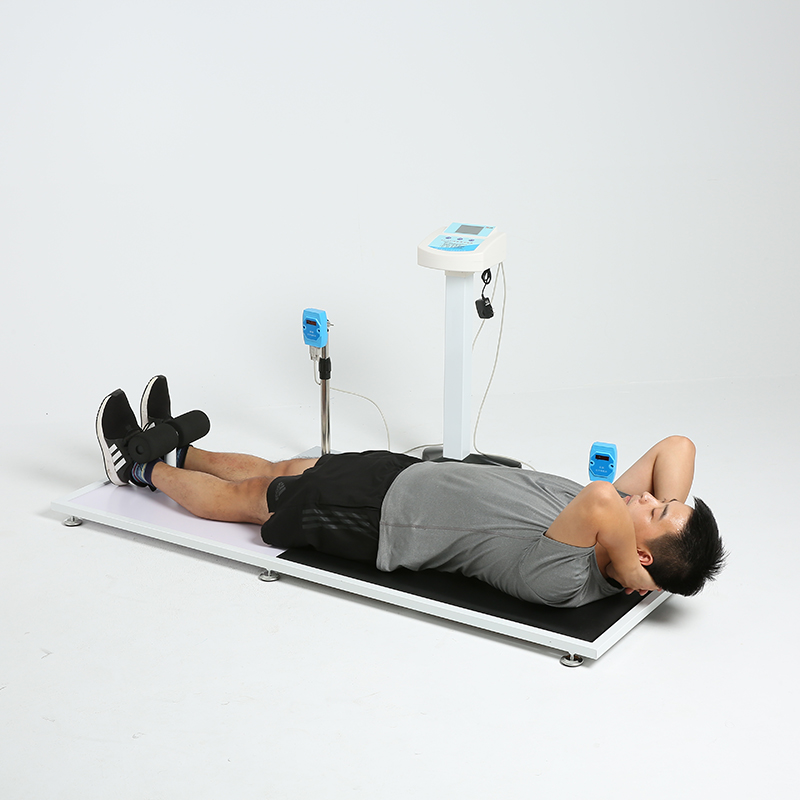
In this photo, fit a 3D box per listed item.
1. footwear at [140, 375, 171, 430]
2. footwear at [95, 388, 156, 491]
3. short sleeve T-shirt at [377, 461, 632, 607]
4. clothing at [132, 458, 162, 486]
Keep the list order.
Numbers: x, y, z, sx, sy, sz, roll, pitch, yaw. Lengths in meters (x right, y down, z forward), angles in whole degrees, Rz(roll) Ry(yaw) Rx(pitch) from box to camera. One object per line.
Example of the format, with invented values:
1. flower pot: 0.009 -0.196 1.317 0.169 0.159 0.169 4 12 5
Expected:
1. footwear: -1.012 0.016 3.526 0.096 0.269 0.112 4 -1 -29
2. footwear: -1.111 0.165 3.343 0.165 0.457 0.206 -7 10 -38
3. short sleeve T-shirt: 0.284 0.373 2.564 0.646 0.219 0.397 8 15 18
4. clothing: -1.005 0.285 3.319 0.093 0.096 0.119 -17 7 -11
